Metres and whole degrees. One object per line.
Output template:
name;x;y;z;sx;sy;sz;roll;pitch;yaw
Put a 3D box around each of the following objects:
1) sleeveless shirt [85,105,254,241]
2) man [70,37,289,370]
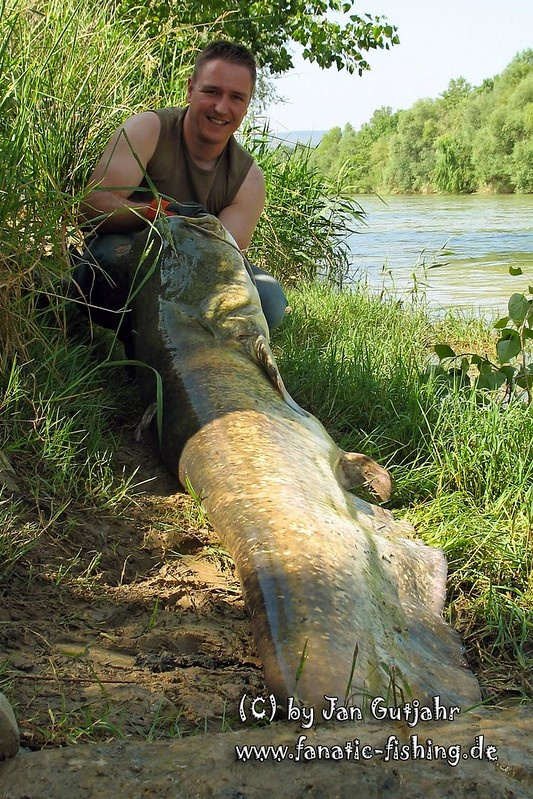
sleeveless shirt;-0.408;-1.242;4.193;0.821;0.372;0.997;21;20;2
man;-0.451;-1.049;4.171;0.941;1.737;0.980;-2;8;-26
